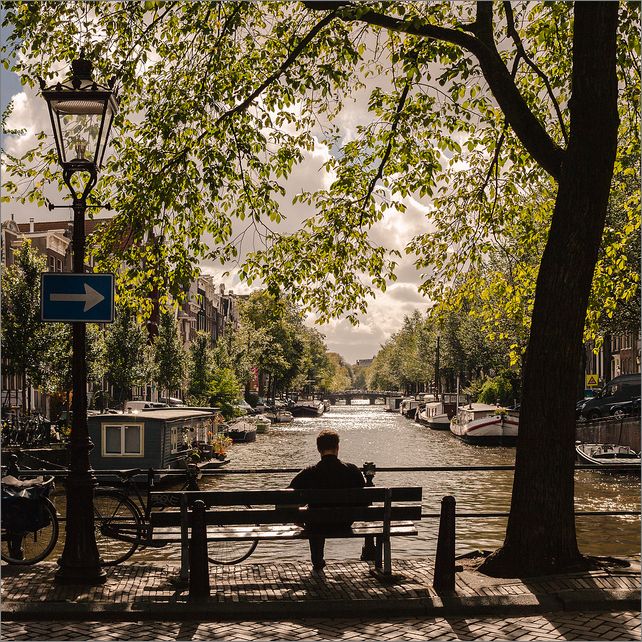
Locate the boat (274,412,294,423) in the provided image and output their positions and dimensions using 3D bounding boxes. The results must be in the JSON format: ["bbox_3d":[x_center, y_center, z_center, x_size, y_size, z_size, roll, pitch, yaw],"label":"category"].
[{"bbox_3d":[-2.695,6.845,68.460,0.924,0.695,0.764,0,1,0],"label":"boat"}]

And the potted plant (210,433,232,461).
[{"bbox_3d":[-3.285,4.072,31.067,0.689,0.900,0.647,2,3,1],"label":"potted plant"}]

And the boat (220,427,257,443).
[{"bbox_3d":[-3.627,4.896,41.580,1.015,0.754,3.354,2,0,5],"label":"boat"}]
